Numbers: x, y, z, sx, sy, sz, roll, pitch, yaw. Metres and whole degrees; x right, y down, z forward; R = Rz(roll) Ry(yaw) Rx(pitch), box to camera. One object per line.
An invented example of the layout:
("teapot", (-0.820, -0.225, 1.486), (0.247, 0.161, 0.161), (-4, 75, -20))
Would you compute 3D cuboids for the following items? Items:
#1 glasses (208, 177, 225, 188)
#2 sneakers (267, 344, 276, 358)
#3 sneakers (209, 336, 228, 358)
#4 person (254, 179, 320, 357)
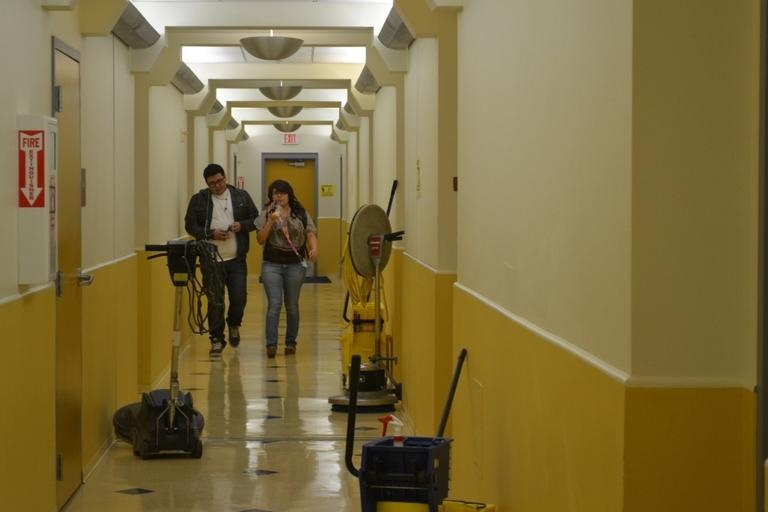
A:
("glasses", (-1.827, -0.799, 7.983), (0.108, 0.136, 0.041), (-4, -14, -2))
("sneakers", (-1.317, 1.102, 8.529), (0.094, 0.136, 0.312), (0, -9, -5))
("sneakers", (-1.985, 1.085, 8.723), (0.147, 0.230, 0.486), (0, -7, -4))
("person", (-1.109, 0.154, 8.315), (0.639, 2.010, 0.655), (0, 3, -8))
